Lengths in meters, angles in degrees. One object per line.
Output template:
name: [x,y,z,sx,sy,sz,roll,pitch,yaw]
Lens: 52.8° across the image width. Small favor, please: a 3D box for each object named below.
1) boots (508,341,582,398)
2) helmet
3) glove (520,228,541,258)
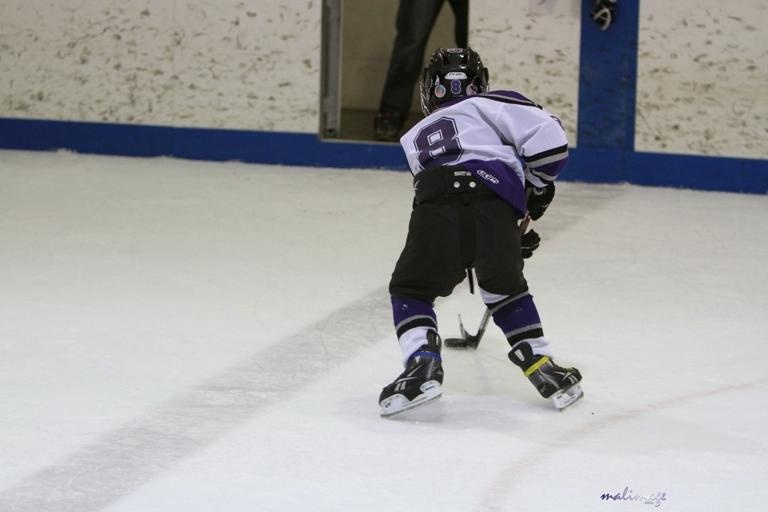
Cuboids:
boots: [0.608,0.427,2.876,0.102,0.212,0.322,-34,-19,35]
helmet: [0.247,-0.680,3.082,0.247,0.275,0.291,0,12,1]
glove: [0.561,-0.045,3.020,0.040,0.101,0.106,26,-2,-1]
